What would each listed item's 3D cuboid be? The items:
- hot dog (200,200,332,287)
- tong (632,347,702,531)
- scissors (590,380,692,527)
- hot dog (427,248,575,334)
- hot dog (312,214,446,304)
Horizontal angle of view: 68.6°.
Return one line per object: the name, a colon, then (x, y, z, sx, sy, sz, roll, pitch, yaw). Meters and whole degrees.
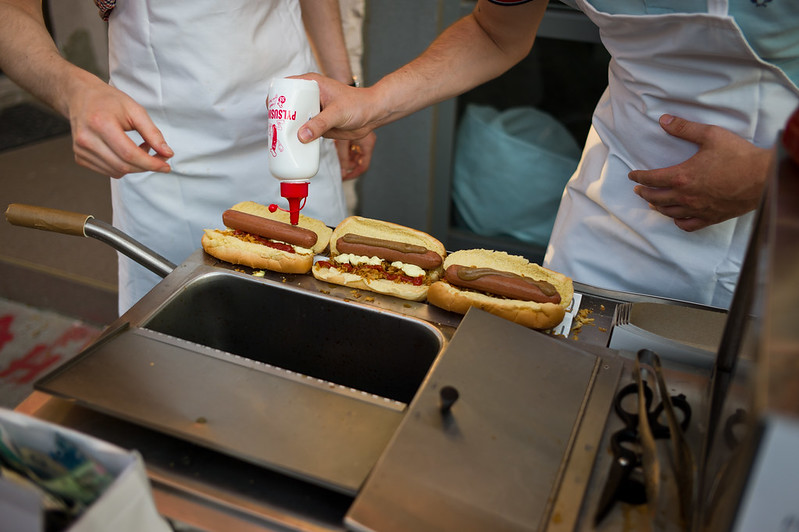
hot dog: (-0.450, -0.075, 1.919, 0.330, 0.100, 0.267, 14, 45, 14)
tong: (0.589, 0.375, 1.323, 0.083, 0.042, 0.411, 8, 34, 3)
scissors: (0.539, 0.388, 1.329, 0.163, 0.044, 0.395, 20, 33, 28)
hot dog: (0.312, 0.075, 1.806, 0.385, 0.104, 0.231, 16, 42, 15)
hot dog: (-0.065, -0.006, 1.864, 0.306, 0.099, 0.286, 12, 53, 10)
